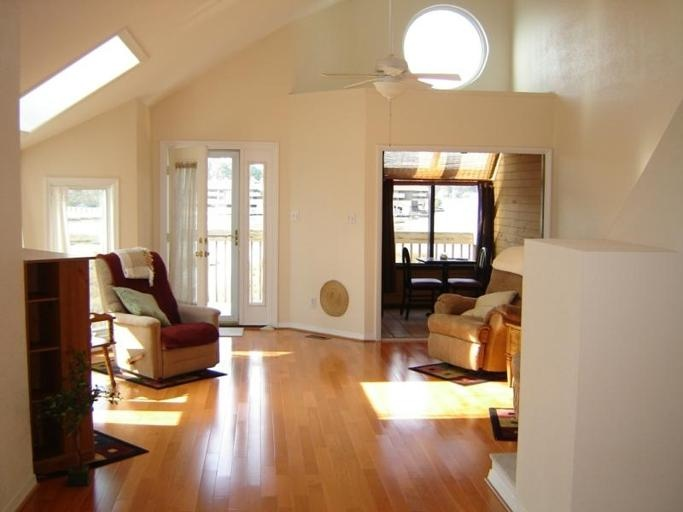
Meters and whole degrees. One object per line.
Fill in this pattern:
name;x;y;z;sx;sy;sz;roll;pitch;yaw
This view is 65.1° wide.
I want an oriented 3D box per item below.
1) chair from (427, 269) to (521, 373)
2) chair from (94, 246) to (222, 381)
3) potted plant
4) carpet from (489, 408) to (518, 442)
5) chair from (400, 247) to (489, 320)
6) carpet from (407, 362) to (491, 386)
chair;1.530;0.657;5.945;1.011;1.075;1.067;1;0;-23
chair;-1.825;0.559;5.939;1.347;1.535;1.133;5;7;33
potted plant;-1.768;1.016;3.751;0.500;0.802;0.808;2;7;6
carpet;1.323;1.348;4.376;0.211;0.066;0.685;2;7;13
chair;1.608;0.821;8.751;1.030;1.748;1.715;-2;5;-5
carpet;1.125;1.239;5.603;0.479;0.016;0.795;-5;9;-42
